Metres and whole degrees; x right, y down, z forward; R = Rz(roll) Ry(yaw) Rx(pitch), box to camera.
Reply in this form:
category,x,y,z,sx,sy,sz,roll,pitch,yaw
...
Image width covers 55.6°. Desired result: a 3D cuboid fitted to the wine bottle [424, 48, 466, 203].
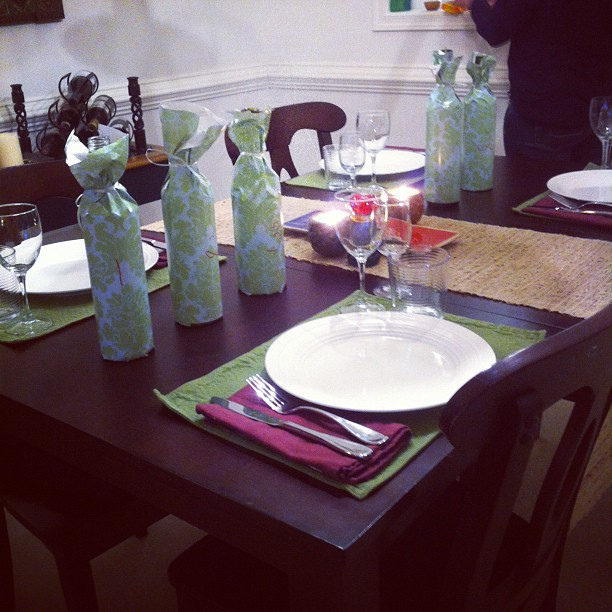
category,x,y,z,sx,sy,sz,roll,pitch,yaw
wine bottle,0.331,-0.424,1.381,0.101,0.336,0.096,-3,22,1

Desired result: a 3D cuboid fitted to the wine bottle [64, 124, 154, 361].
category,x,y,z,sx,sy,sz,roll,pitch,yaw
wine bottle,-0.252,-0.074,0.755,0.081,0.265,0.074,-9,11,-20

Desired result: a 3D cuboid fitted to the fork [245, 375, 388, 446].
category,x,y,z,sx,sy,sz,roll,pitch,yaw
fork,0.012,0.112,0.609,0.136,0.019,0.018,22,46,39

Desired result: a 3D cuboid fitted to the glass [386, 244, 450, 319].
category,x,y,z,sx,sy,sz,roll,pitch,yaw
glass,0.169,-0.021,0.901,0.098,0.125,0.072,-5,33,-20

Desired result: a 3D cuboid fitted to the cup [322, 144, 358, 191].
category,x,y,z,sx,sy,sz,roll,pitch,yaw
cup,0.093,-0.351,1.497,0.122,0.117,0.109,-4,10,-35

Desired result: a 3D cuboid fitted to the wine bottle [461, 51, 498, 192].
category,x,y,z,sx,sy,sz,roll,pitch,yaw
wine bottle,0.432,-0.452,1.455,0.091,0.336,0.099,-4,24,2

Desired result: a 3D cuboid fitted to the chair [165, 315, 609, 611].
category,x,y,z,sx,sy,sz,roll,pitch,yaw
chair,0.074,0.165,0.630,0.225,0.369,0.260,26,38,30

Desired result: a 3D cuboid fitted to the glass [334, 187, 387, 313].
category,x,y,z,sx,sy,sz,roll,pitch,yaw
glass,0.090,-0.085,0.919,0.080,0.181,0.088,11,21,33

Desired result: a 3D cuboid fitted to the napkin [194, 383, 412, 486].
category,x,y,z,sx,sy,sz,roll,pitch,yaw
napkin,-0.008,0.122,0.601,0.213,0.022,0.102,14,26,36

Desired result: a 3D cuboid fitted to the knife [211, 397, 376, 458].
category,x,y,z,sx,sy,sz,roll,pitch,yaw
knife,-0.010,0.125,0.588,0.163,0.009,0.018,14,32,33

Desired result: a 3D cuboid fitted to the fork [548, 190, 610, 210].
category,x,y,z,sx,sy,sz,roll,pitch,yaw
fork,0.614,-0.239,1.303,0.128,0.022,0.022,19,39,30
